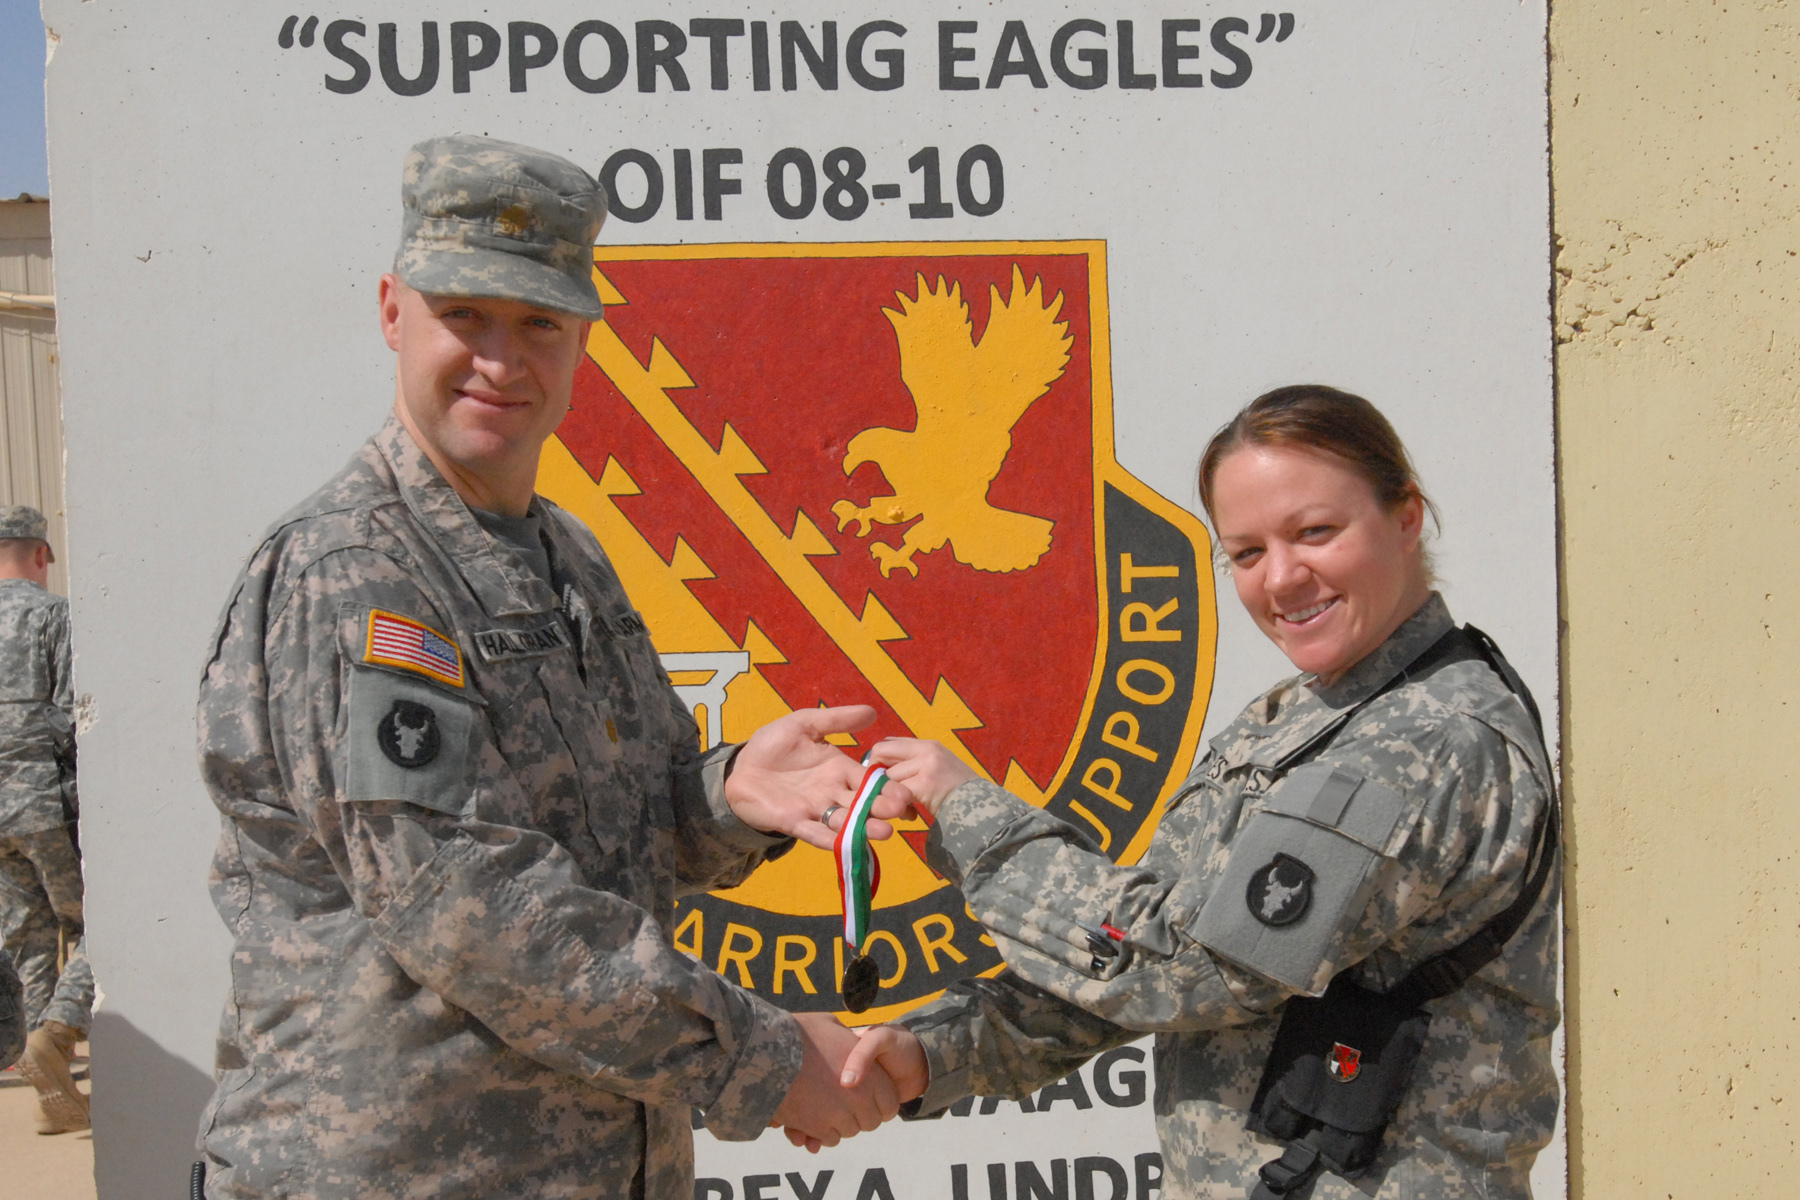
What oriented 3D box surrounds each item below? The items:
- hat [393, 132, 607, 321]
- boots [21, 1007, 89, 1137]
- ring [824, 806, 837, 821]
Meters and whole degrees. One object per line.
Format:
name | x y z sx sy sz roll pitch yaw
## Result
hat | -1.030 -0.998 7.939 0.561 0.428 0.718 6 7 -18
boots | -2.953 1.637 10.581 0.214 0.403 0.357 -3 10 -17
ring | -0.188 0.571 8.165 0.007 0.033 0.033 -2 12 19
